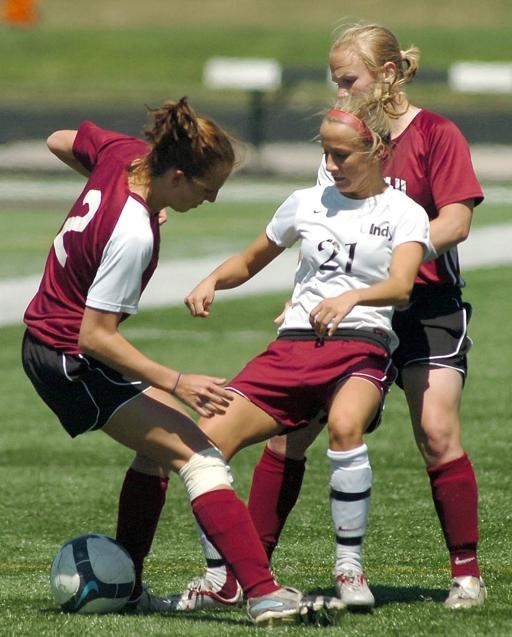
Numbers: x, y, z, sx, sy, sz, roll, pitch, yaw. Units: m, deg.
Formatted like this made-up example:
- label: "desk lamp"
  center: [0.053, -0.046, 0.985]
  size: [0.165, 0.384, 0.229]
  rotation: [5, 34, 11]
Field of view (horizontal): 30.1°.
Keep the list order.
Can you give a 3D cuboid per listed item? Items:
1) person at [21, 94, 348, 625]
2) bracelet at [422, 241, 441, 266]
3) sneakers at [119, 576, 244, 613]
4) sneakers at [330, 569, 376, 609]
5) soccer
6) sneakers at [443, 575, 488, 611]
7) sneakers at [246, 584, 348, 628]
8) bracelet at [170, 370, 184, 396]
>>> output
- label: "person"
  center: [-0.319, 0.097, 2.884]
  size: [0.511, 1.446, 0.970]
  rotation: [-1, 0, -38]
- label: "bracelet"
  center: [0.544, -0.205, 2.974]
  size: [0.063, 0.058, 0.049]
  rotation: [0, -31, -6]
- label: "sneakers"
  center: [-0.238, 0.900, 3.103]
  size: [0.423, 0.123, 0.123]
  rotation: [5, -12, -4]
- label: "sneakers"
  center: [0.284, 0.797, 2.828]
  size: [0.082, 0.061, 0.154]
  rotation: [-8, 11, -12]
- label: "soccer"
  center: [-0.545, 0.815, 3.004]
  size: [0.273, 0.238, 0.236]
  rotation: [-1, -16, -3]
- label: "sneakers"
  center: [0.637, 0.839, 2.910]
  size: [0.118, 0.095, 0.117]
  rotation: [-1, 0, 12]
- label: "sneakers"
  center: [0.103, 0.796, 2.651]
  size: [0.237, 0.075, 0.115]
  rotation: [-4, -2, 2]
- label: "bracelet"
  center: [-0.232, 0.188, 2.751]
  size: [0.035, 0.058, 0.071]
  rotation: [-1, 0, -4]
